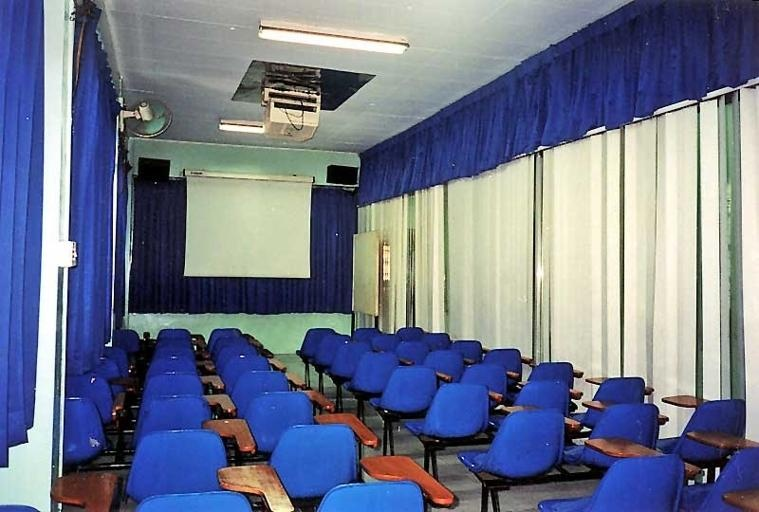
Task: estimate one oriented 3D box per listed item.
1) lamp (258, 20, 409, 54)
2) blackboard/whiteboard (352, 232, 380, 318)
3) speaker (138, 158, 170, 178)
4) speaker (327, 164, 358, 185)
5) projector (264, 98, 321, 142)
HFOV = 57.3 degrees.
[{"bbox_3d":[-0.485,-2.306,7.273,1.545,0.306,0.298,2,-1,-12],"label":"lamp"},{"bbox_3d":[-0.246,0.358,12.663,0.139,1.500,1.494,3,-7,-18],"label":"blackboard/whiteboard"},{"bbox_3d":[-3.971,-1.506,12.171,0.613,0.400,0.320,2,-2,-25],"label":"speaker"},{"bbox_3d":[-0.726,-1.513,13.254,0.651,0.428,0.346,2,-5,-27],"label":"speaker"},{"bbox_3d":[-1.112,-1.708,8.683,0.640,0.514,0.482,2,-1,-15],"label":"projector"}]
